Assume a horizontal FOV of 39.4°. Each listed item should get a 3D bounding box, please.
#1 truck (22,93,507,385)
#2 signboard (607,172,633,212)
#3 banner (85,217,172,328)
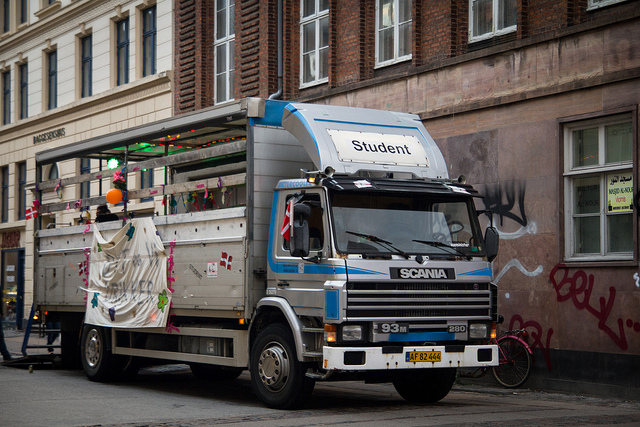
[{"bbox_3d":[-1.681,0.842,19.496,5.271,5.202,10.713,6,-10,-39],"label":"truck"},{"bbox_3d":[6.253,-0.437,18.510,0.066,0.933,0.767,2,-3,-32],"label":"signboard"},{"bbox_3d":[-4.125,1.253,18.914,2.656,2.274,0.281,-3,-8,35],"label":"banner"}]
